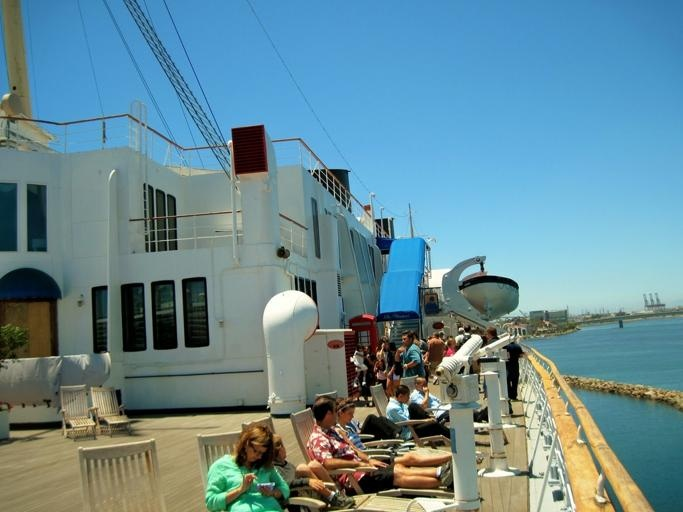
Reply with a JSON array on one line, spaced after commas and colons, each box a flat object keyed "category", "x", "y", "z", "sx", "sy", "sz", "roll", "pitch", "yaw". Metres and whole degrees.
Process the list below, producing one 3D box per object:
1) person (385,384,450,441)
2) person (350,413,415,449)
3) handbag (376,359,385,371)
[{"category": "person", "x": 1.512, "y": 2.698, "z": 9.285, "sx": 1.454, "sy": 0.887, "sz": 0.762, "roll": -5, "pitch": 3, "yaw": 21}, {"category": "person", "x": 0.687, "y": 2.895, "z": 9.040, "sx": 1.076, "sy": 0.489, "sz": 0.478, "roll": -6, "pitch": -4, "yaw": -21}, {"category": "handbag", "x": 1.132, "y": 3.220, "z": 15.829, "sx": 0.220, "sy": 0.306, "sz": 0.294, "roll": 1, "pitch": -14, "yaw": -13}]
